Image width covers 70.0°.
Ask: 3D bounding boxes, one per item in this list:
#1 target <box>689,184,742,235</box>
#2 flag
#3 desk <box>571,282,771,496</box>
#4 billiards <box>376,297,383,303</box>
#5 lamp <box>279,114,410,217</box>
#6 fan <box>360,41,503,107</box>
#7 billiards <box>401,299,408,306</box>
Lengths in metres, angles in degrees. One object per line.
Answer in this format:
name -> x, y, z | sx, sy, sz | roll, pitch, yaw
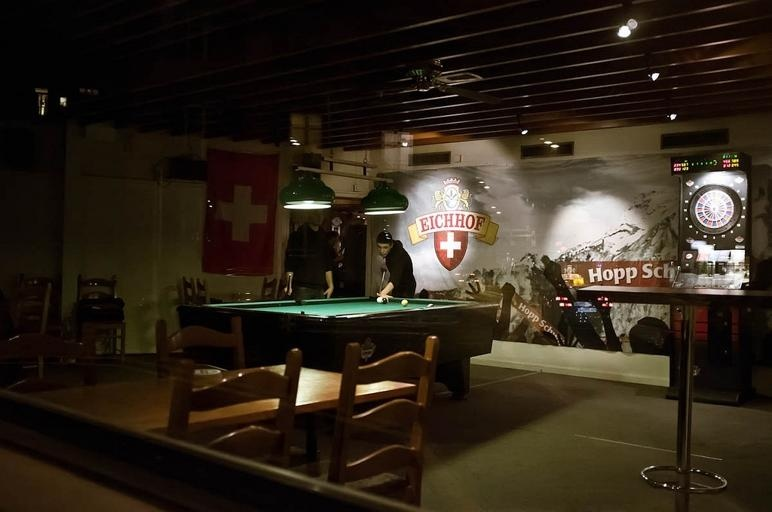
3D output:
target -> 1.056, -0.153, 1.780 | 0.032, 0.134, 0.133 | -24, 20, -39
flag -> -0.858, -0.266, 3.187 | 0.066, 0.954, 0.718 | 2, -2, 32
desk -> 1.019, 0.451, 1.906 | 0.584, 0.676, 0.740 | 4, 3, 20
billiards -> -0.065, 0.394, 4.946 | 0.063, 0.042, 0.062 | -1, 0, -24
lamp -> -0.294, -0.697, 4.236 | 1.063, 0.676, 0.404 | 0, 7, -36
fan -> 0.229, -1.037, 3.150 | 0.613, 0.143, 0.584 | 6, 8, 5
billiards -> 0.159, 0.424, 5.060 | 0.047, 0.055, 0.046 | -6, 6, -25
